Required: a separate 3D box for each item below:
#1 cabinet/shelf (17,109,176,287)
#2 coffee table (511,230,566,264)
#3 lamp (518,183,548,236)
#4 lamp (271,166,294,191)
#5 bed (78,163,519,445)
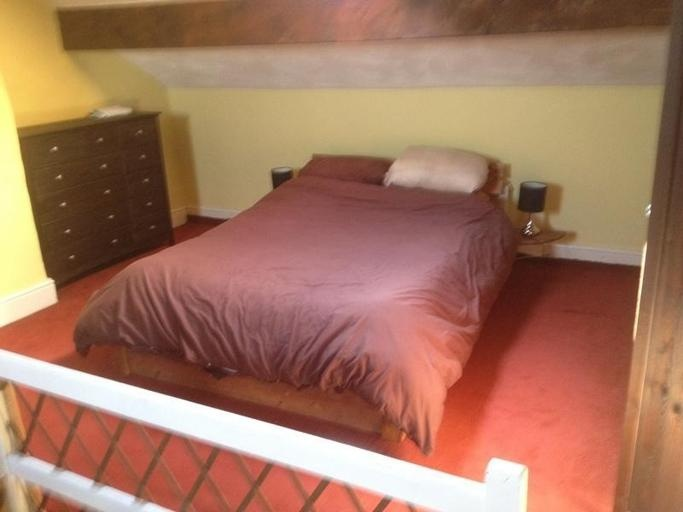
[{"bbox_3d":[-2.032,-0.512,4.217,0.456,1.163,1.277,13,26,25],"label":"cabinet/shelf"},{"bbox_3d":[1.531,-0.112,4.078,0.242,0.168,0.338,8,26,22],"label":"coffee table"},{"bbox_3d":[1.438,-0.359,3.992,0.196,0.444,0.347,8,1,21],"label":"lamp"},{"bbox_3d":[-0.534,-0.705,4.607,0.199,0.228,0.199,-9,21,-23],"label":"lamp"},{"bbox_3d":[0.020,-0.058,3.684,2.121,0.765,2.871,9,21,25],"label":"bed"}]
